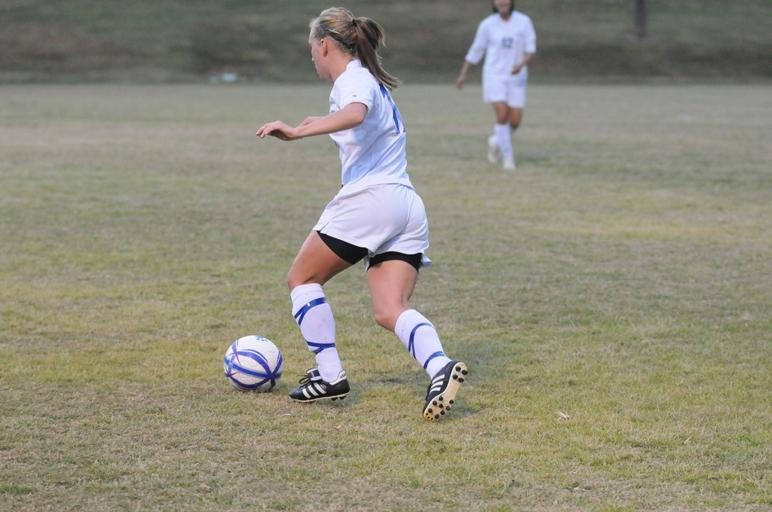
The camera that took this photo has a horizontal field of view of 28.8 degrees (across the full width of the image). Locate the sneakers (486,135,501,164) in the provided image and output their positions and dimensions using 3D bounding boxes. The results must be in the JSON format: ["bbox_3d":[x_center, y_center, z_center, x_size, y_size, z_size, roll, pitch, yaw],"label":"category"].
[{"bbox_3d":[1.136,-1.116,15.727,0.234,0.287,0.106,0,8,9],"label":"sneakers"}]

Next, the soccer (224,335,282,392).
[{"bbox_3d":[-1.297,1.049,14.873,0.577,0.492,0.545,-6,2,-17],"label":"soccer"}]
